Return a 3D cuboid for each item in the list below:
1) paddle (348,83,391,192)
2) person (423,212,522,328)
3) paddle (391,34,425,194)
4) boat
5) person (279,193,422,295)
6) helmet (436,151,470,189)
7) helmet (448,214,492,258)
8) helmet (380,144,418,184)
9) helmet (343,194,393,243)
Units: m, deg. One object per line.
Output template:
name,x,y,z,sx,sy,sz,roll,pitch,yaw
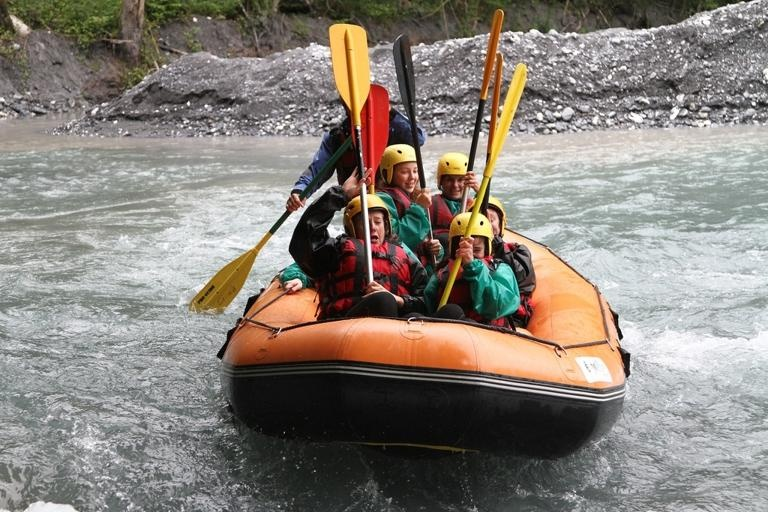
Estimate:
paddle,-0.129,-0.987,6.293,0.330,1.091,0.078,0,-8,2
person,0.620,0.119,5.310,0.680,0.601,0.856,-5,57,19
paddle,0.204,-1.311,6.441,0.204,1.623,0.107,-5,-17,-1
boat,0.388,0.634,6.281,3.179,1.087,3.520,4,14,5
person,-0.466,-0.049,5.661,0.786,0.282,0.929,10,50,-5
helmet,0.568,-0.679,6.121,0.275,0.252,0.344,3,2,-20
helmet,0.617,-0.123,5.364,0.343,0.357,0.394,1,0,-1
helmet,0.113,-0.740,6.200,0.353,0.295,0.268,4,5,36
helmet,-0.135,-0.295,5.449,0.300,0.293,0.343,-1,-25,-14
